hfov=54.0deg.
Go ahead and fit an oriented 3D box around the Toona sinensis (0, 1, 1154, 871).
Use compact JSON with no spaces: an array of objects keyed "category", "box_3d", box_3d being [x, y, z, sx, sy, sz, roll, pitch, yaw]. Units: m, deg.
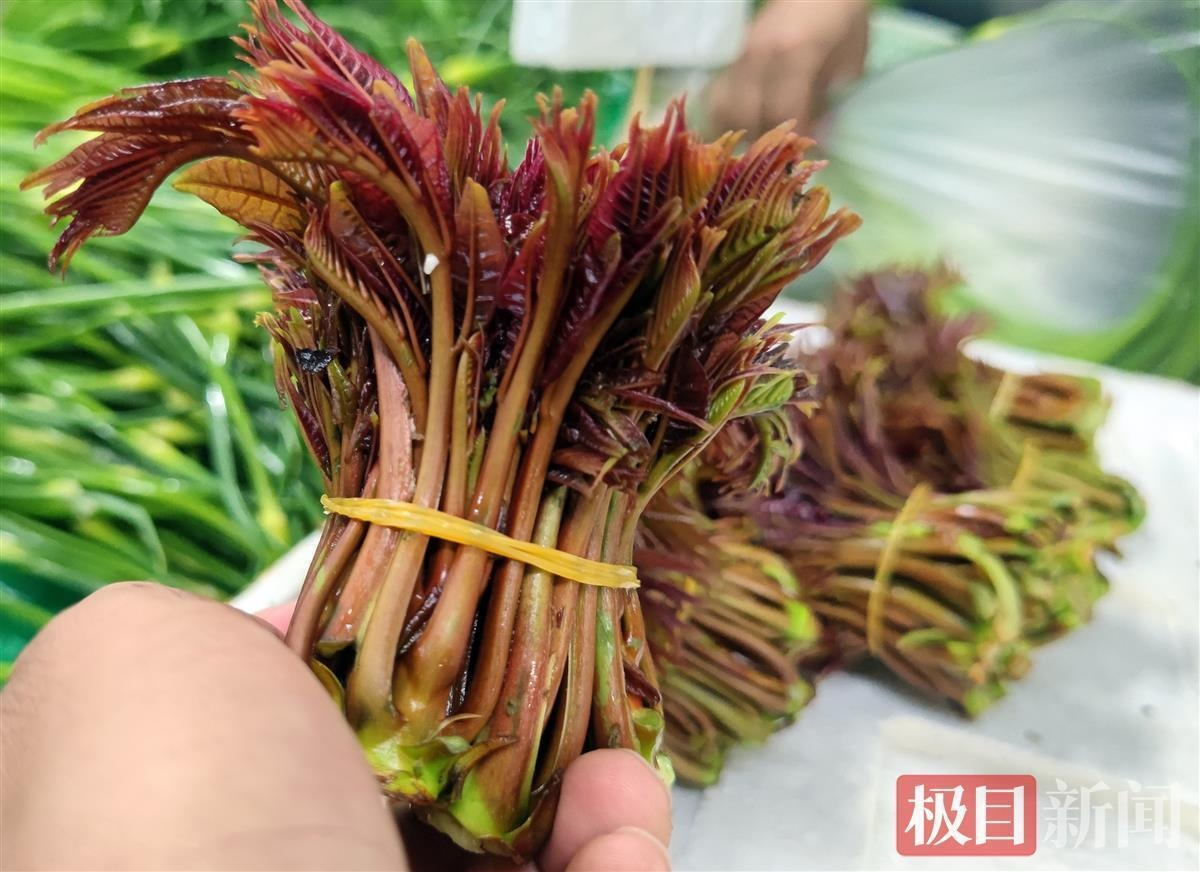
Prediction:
[{"category":"Toona sinensis","box_3d":[0.066,-0.035,1.499,1.163,1.021,0.739,-24,48,-18]}]
